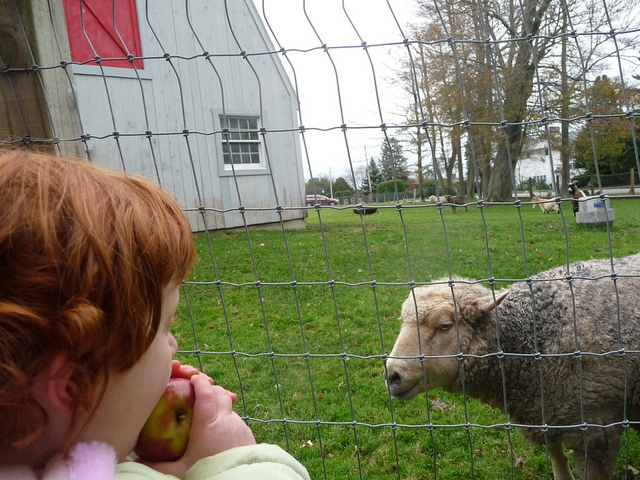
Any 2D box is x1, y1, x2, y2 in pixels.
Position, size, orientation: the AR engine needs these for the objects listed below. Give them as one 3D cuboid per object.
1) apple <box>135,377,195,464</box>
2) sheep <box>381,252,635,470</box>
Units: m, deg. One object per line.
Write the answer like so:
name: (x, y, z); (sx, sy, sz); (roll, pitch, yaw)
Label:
apple: (-0.640, 0.738, 2.364); (0.260, 0.358, 0.215); (-6, 18, -41)
sheep: (1.527, 0.966, 4.039); (1.836, 1.777, 1.415); (-3, 7, 9)
